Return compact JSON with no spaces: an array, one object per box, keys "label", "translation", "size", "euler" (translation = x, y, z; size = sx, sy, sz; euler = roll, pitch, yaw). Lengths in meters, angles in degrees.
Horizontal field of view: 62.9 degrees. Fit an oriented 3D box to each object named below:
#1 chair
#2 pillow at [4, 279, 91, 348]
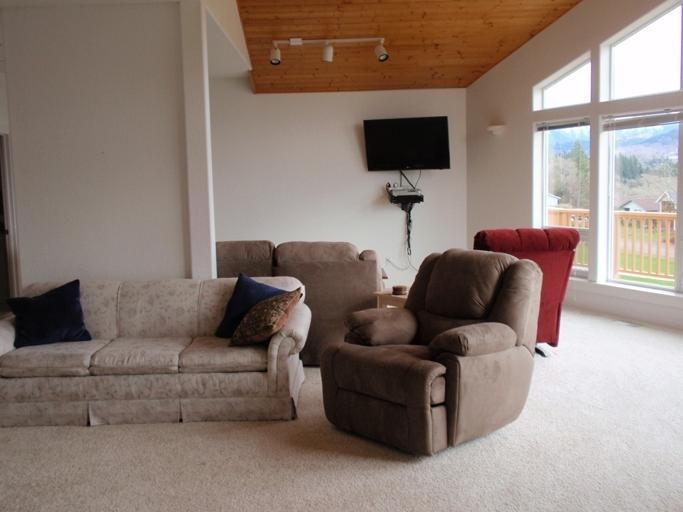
[{"label":"chair","translation":[0.742,0.508,4.491],"size":[1.841,1.597,1.355],"euler":[-1,0,-37]},{"label":"pillow","translation":[-2.357,0.495,4.521],"size":[0.484,0.535,0.157],"euler":[-20,-10,-29]}]
